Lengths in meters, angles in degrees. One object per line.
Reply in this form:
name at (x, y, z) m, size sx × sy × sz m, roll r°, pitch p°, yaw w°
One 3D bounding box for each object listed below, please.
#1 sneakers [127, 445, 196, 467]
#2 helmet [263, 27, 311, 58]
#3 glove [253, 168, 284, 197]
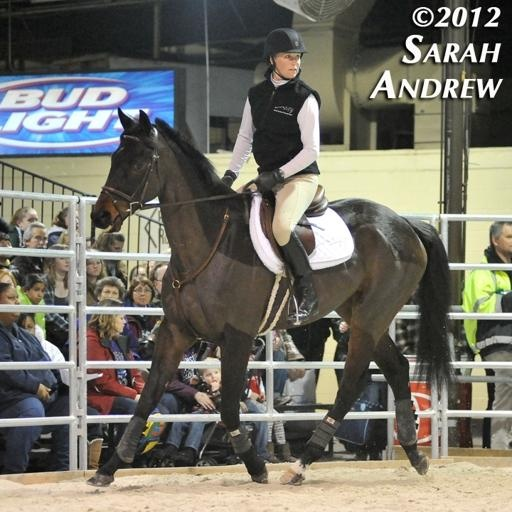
sneakers at (-0.888, 1.991, 13.015) m, size 0.721 × 0.273 × 0.223 m, roll 1°, pitch -14°, yaw 3°
helmet at (0.281, -1.892, 11.848) m, size 0.248 × 0.157 × 0.325 m, roll -3°, pitch 1°, yaw -40°
glove at (0.129, -0.652, 11.824) m, size 0.265 × 0.216 × 0.281 m, roll 1°, pitch -1°, yaw 0°
